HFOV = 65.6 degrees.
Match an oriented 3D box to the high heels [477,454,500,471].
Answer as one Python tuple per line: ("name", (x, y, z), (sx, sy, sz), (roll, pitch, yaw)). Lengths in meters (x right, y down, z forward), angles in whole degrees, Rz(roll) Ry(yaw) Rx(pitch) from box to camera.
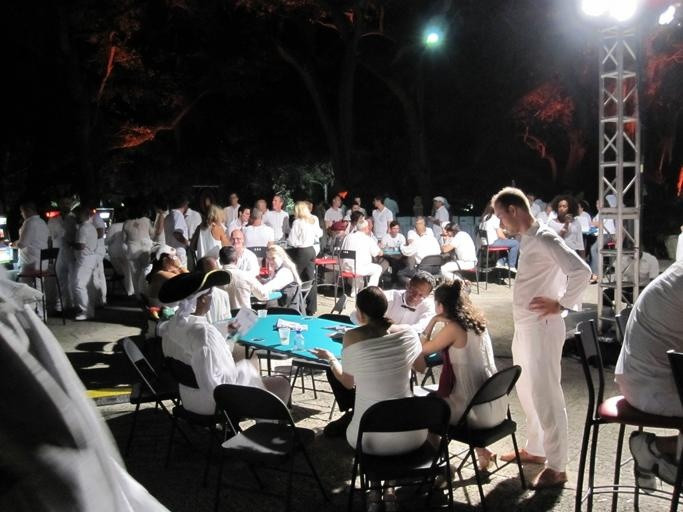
("high heels", (1.218, 1.697, 4.378), (0.092, 0.086, 0.238), (-4, -1, -12))

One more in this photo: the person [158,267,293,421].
("person", (-0.948, 0.951, 4.611), (1.042, 1.714, 0.803), (-5, 0, -38))

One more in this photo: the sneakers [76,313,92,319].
("sneakers", (-4.654, 1.082, 9.518), (0.251, 0.123, 0.223), (-6, 6, -16))

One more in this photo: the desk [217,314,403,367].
("desk", (-0.411, 0.754, 4.926), (0.869, 0.206, 0.560), (5, 9, 30))

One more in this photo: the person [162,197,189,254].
("person", (-3.448, -0.629, 11.122), (0.466, 1.195, 0.890), (-8, 7, -24))

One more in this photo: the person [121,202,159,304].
("person", (-4.247, -0.117, 11.151), (0.627, 1.912, 1.132), (-7, 7, -22))

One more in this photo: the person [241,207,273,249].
("person", (-1.703, -0.429, 10.497), (0.725, 1.057, 0.613), (0, -6, -19))

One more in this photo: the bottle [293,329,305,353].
("bottle", (-0.383, 0.748, 4.602), (0.120, 0.189, 0.115), (-1, -5, 0))

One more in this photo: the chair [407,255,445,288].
("chair", (1.402, 0.231, 8.550), (0.438, 0.631, 0.453), (-5, 23, -20))

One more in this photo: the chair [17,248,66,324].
("chair", (-5.485, 0.514, 9.692), (0.651, 1.316, 1.865), (-8, 7, -30))

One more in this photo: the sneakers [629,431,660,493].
("sneakers", (1.948, 1.300, 3.444), (0.148, 0.455, 0.193), (-5, 13, 33))

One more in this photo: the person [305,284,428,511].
("person", (0.253, 0.809, 3.679), (0.868, 1.250, 1.032), (-3, 5, -11))

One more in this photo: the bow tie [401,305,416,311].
("bow tie", (0.692, 0.529, 5.396), (0.046, 0.037, 0.151), (18, -8, -17))

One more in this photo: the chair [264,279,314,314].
("chair", (-0.717, 0.529, 7.358), (0.490, 0.681, 0.549), (7, 7, 23))

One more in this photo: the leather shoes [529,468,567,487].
("leather shoes", (1.627, 1.736, 4.177), (0.331, 0.137, 0.112), (1, -5, -10))

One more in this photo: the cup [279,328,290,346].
("cup", (-0.506, 0.723, 4.752), (0.109, 0.117, 0.105), (-1, 6, 0))
